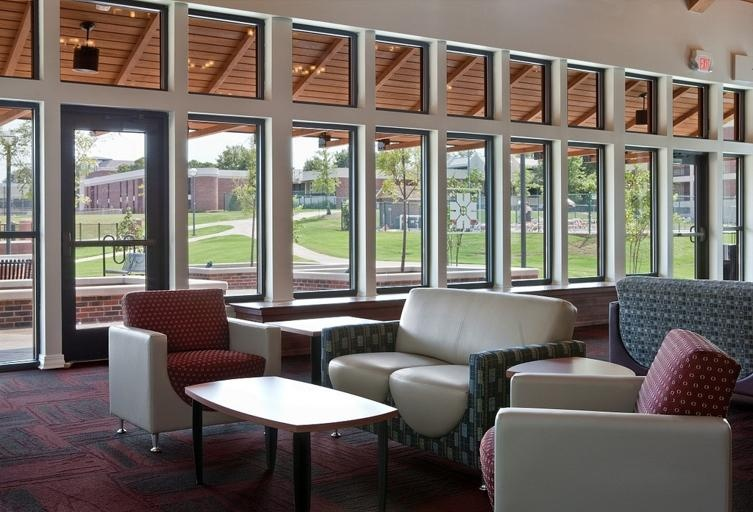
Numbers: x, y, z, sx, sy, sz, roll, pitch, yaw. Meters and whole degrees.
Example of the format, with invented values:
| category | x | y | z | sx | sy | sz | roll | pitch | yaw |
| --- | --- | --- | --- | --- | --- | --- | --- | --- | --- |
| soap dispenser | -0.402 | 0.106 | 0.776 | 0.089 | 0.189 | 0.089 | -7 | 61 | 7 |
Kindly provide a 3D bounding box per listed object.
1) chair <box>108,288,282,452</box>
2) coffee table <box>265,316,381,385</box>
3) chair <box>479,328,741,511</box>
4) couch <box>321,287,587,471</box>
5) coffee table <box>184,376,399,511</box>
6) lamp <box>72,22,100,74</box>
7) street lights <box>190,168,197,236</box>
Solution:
| category | x | y | z | sx | sy | sz | roll | pitch | yaw |
| --- | --- | --- | --- | --- | --- | --- | --- | --- | --- |
| chair | -1.479 | 0.805 | 4.827 | 1.184 | 0.960 | 1.133 | 1 | 0 | -32 |
| coffee table | -0.463 | 0.705 | 5.319 | 0.698 | 0.650 | 0.684 | -1 | 0 | -37 |
| chair | 1.195 | 0.705 | 3.297 | 1.143 | 1.110 | 0.808 | 1 | -1 | 17 |
| couch | 0.516 | 0.852 | 4.565 | 1.102 | 1.109 | 1.860 | 1 | -2 | -37 |
| coffee table | -0.524 | 1.157 | 3.638 | 1.223 | 0.643 | 0.774 | 5 | 7 | 44 |
| lamp | -3.217 | -2.309 | 6.627 | 0.263 | 0.567 | 0.069 | -2 | 5 | -26 |
| street lights | -2.207 | -0.644 | 7.200 | 0.086 | 0.802 | 0.143 | -1 | 5 | -17 |
